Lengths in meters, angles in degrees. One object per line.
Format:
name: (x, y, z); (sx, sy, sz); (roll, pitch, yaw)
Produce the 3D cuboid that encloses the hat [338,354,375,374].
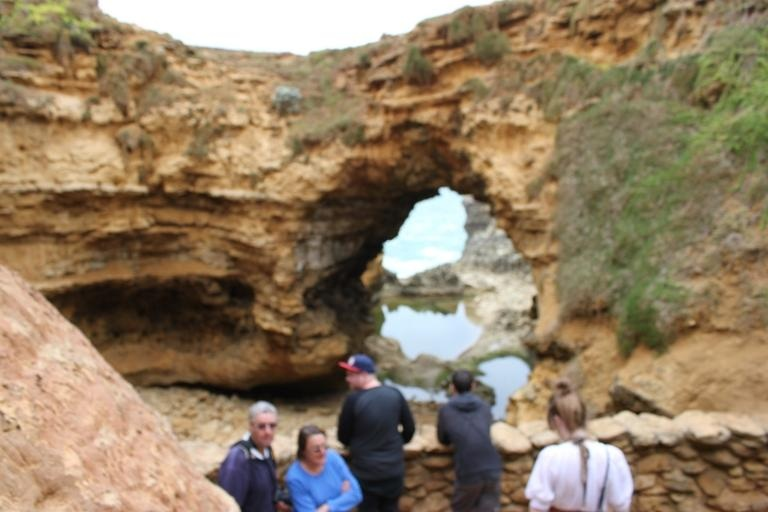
hat: (-0.243, 1.023, 15.823); (0.304, 0.174, 0.449); (3, -1, -2)
